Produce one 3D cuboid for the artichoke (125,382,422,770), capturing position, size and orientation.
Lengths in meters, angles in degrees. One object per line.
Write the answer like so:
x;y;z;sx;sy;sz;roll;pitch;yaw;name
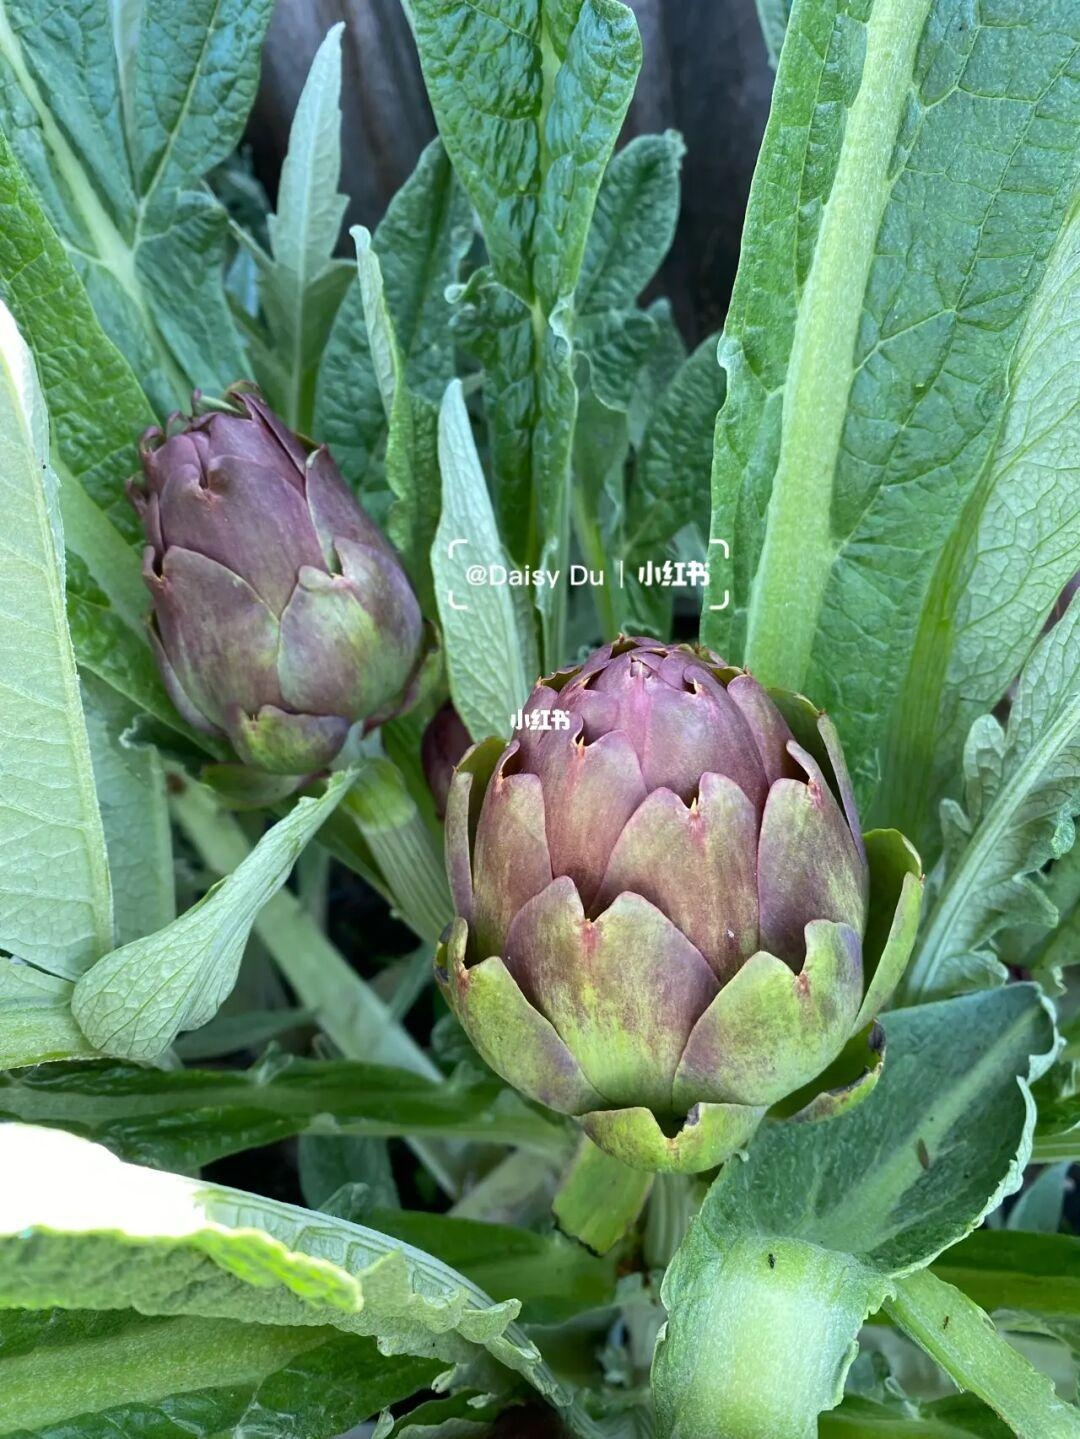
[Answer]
-0.078;-0.039;0.438;0.082;0.108;0.101;-10;48;-7;artichoke
